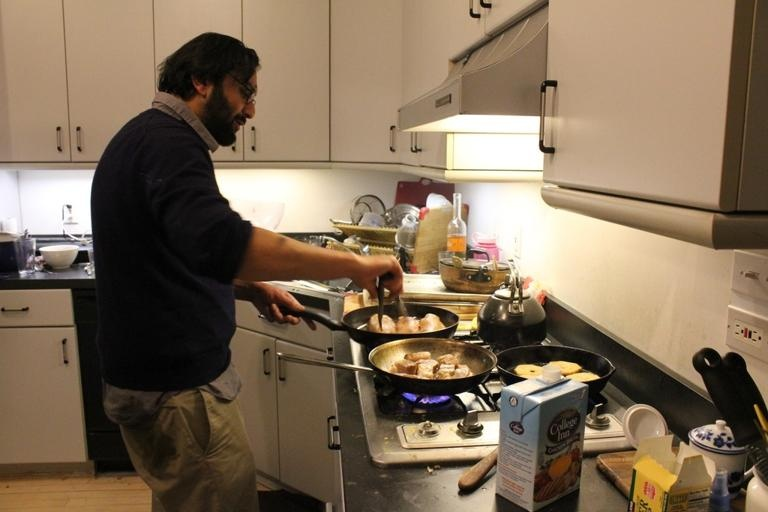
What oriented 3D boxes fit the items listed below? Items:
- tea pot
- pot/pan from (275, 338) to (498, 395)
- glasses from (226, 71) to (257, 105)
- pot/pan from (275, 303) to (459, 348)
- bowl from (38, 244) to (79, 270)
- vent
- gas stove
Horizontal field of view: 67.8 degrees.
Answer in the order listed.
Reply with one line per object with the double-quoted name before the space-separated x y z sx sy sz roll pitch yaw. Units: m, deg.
"tea pot" 0.409 0.177 1.932 0.182 0.228 0.268 0 9 2
"pot/pan" 0.108 0.321 1.725 0.427 0.065 0.267 0 7 -3
"glasses" -0.476 -0.567 1.907 0.027 0.092 0.087 -25 -8 21
"pot/pan" 0.010 0.238 2.055 0.415 0.062 0.246 -1 9 -10
"bowl" -1.859 0.005 3.287 0.178 0.135 0.242 -6 6 -32
"vent" 0.317 -0.570 1.840 0.426 0.307 0.624 -2 5 0
"gas stove" 0.275 0.427 1.620 0.824 0.120 0.549 -2 5 7
